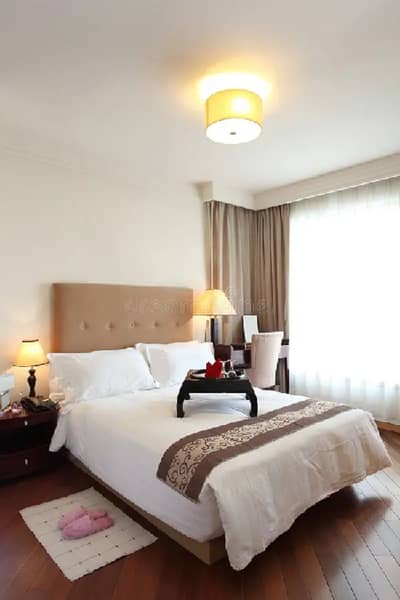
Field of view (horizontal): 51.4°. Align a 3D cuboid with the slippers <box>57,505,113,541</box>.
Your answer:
[{"bbox_3d":[-0.553,1.084,2.019,0.147,0.048,0.107,8,-3,-37],"label":"slippers"}]

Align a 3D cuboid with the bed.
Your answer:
[{"bbox_3d":[-0.137,0.344,2.907,1.678,1.128,1.698,-4,12,-44],"label":"bed"}]

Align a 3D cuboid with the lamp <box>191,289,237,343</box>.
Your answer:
[{"bbox_3d":[0.164,0.148,4.145,0.378,0.523,0.369,-2,19,-24],"label":"lamp"}]

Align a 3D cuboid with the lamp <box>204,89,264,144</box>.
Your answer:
[{"bbox_3d":[0.198,-1.099,2.477,0.334,0.197,0.389,1,0,11],"label":"lamp"}]

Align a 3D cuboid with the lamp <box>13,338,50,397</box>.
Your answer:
[{"bbox_3d":[-1.159,0.478,2.861,0.216,0.407,0.217,-1,3,-17],"label":"lamp"}]

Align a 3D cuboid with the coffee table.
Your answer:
[{"bbox_3d":[0.095,0.573,2.600,0.479,0.212,0.457,0,0,-4],"label":"coffee table"}]

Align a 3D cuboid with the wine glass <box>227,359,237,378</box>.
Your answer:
[{"bbox_3d":[0.204,0.453,2.703,0.063,0.135,0.068,-1,-2,0],"label":"wine glass"}]
